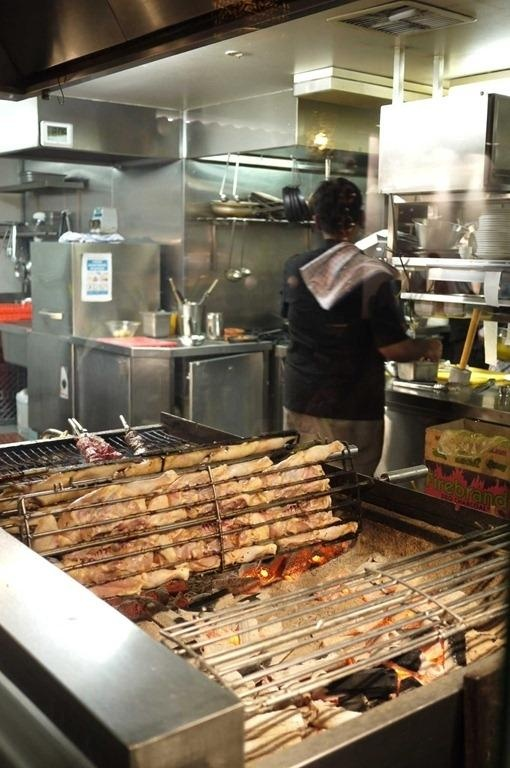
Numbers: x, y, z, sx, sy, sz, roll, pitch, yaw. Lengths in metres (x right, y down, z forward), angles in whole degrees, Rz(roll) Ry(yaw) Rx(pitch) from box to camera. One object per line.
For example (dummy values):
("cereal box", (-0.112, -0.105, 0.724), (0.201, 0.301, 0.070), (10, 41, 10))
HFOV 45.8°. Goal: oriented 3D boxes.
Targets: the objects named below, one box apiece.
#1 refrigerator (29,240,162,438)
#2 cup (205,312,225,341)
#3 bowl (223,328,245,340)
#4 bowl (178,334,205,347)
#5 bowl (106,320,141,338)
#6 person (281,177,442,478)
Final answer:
("refrigerator", (-1.144, -0.287, 3.842), (0.941, 1.273, 0.552), (2, 6, 19))
("cup", (-0.262, -0.367, 3.819), (0.112, 0.177, 0.210), (-1, 6, -5))
("bowl", (-0.134, -0.318, 3.832), (0.133, 0.066, 0.323), (0, 6, -2))
("bowl", (-0.395, -0.253, 3.583), (0.154, 0.056, 0.125), (1, 6, 11))
("bowl", (-0.811, -0.340, 3.720), (0.205, 0.105, 0.111), (-3, 6, -21))
("person", (0.293, -0.199, 2.104), (0.508, 0.992, 0.245), (5, 8, 42))
